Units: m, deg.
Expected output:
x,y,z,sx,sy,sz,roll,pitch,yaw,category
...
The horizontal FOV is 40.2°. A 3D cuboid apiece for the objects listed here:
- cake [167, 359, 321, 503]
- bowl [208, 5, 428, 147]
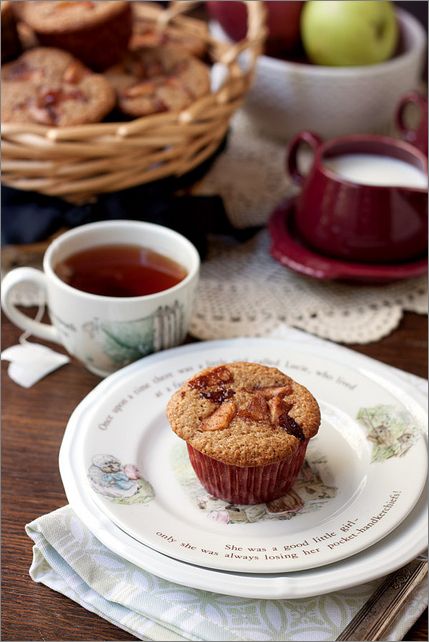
x,y,z,sx,sy,sz,roll,pitch,yaw,category
0.033,0.106,0.577,0.156,0.090,0.147,-3,31,-1,cake
0.211,-0.412,1.056,0.300,0.156,0.271,-2,35,-4,bowl
